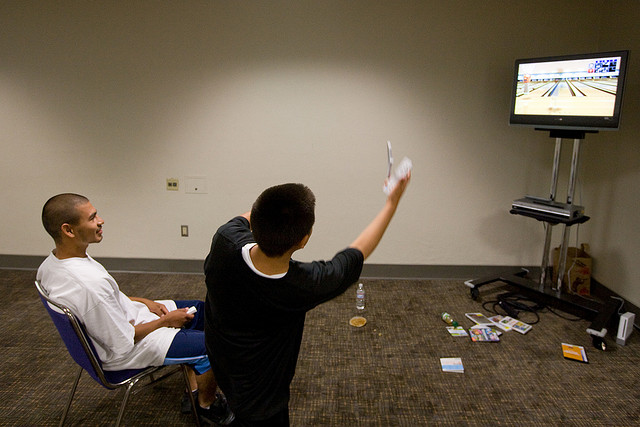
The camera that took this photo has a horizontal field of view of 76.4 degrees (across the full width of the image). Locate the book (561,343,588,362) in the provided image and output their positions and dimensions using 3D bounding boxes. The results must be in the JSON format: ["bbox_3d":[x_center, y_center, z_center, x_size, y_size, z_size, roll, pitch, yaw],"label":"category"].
[{"bbox_3d":[2.283,1.256,3.674,0.190,0.069,0.172,4,12,20],"label":"book"}]

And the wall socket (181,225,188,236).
[{"bbox_3d":[-1.661,0.205,5.002,0.104,0.154,0.015,2,17,0],"label":"wall socket"}]

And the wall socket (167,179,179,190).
[{"bbox_3d":[-1.777,-0.360,4.924,0.115,0.108,0.013,1,5,0],"label":"wall socket"}]

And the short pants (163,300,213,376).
[{"bbox_3d":[-0.935,0.919,2.921,0.197,0.558,0.303,9,9,30],"label":"short pants"}]

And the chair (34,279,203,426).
[{"bbox_3d":[-1.405,1.018,2.898,0.840,1.196,0.792,-9,15,-37],"label":"chair"}]

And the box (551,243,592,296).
[{"bbox_3d":[2.889,0.624,4.715,0.349,0.571,0.452,-2,5,-1],"label":"box"}]

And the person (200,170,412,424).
[{"bbox_3d":[-0.209,0.576,2.355,0.961,1.499,0.369,3,13,15],"label":"person"}]

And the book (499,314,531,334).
[{"bbox_3d":[1.934,1.105,4.050,0.240,0.055,0.216,11,16,44],"label":"book"}]

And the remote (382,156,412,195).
[{"bbox_3d":[0.459,-0.218,2.468,0.116,0.282,0.074,24,53,3],"label":"remote"}]

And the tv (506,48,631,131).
[{"bbox_3d":[2.467,-1.199,3.997,0.954,0.736,0.111,5,3,36],"label":"tv"}]
